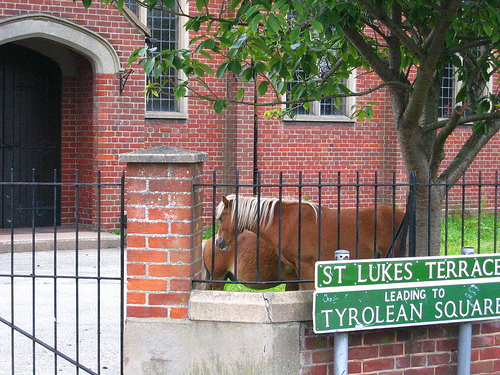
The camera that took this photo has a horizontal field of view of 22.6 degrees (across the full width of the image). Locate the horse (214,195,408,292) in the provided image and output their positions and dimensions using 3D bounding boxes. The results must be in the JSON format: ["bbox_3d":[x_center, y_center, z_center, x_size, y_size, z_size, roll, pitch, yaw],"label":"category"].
[{"bbox_3d":[1.095,0.992,17.035,3.087,1.814,0.764,-1,2,-6],"label":"horse"}]
